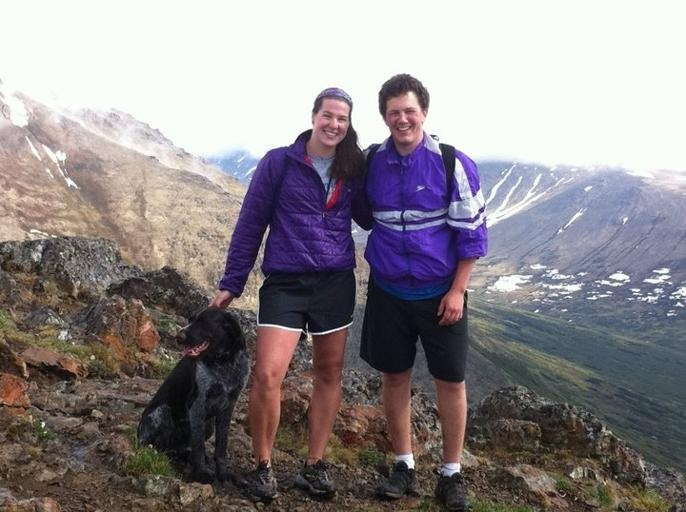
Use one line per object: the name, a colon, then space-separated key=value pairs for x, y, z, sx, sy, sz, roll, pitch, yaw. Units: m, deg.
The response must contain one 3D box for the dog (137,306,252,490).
dog: x=-1.902 y=1.793 z=6.721 sx=1.230 sy=2.238 sz=0.586 roll=7 pitch=7 yaw=-5
